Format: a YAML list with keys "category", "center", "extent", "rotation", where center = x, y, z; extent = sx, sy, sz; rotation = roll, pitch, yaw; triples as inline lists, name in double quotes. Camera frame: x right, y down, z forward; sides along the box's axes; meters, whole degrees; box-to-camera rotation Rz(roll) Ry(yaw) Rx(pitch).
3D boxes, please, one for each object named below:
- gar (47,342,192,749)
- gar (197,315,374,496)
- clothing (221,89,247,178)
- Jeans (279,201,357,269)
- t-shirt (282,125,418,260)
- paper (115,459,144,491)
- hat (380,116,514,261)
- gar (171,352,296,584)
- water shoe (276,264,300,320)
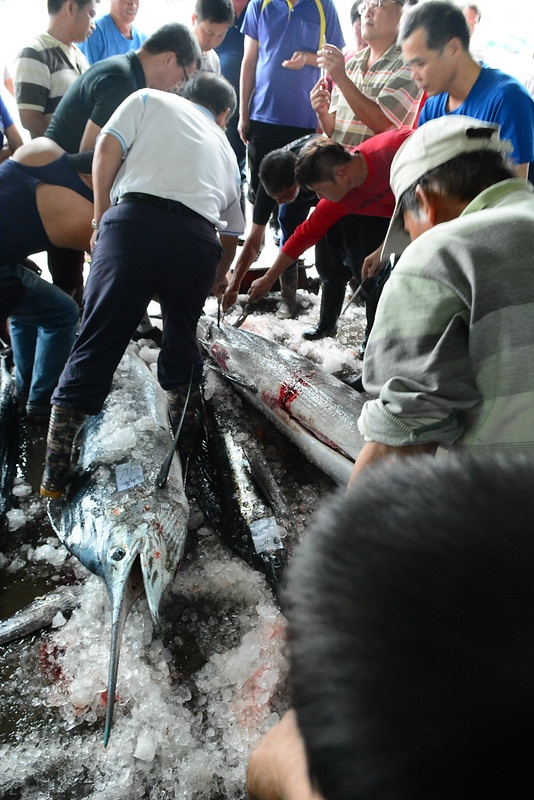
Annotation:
- category: "gar"
  center: [-0.428, 0.271, 1.775]
  extent: [0.280, 0.201, 1.174]
  rotation: [1, 43, -2]
- category: "gar"
  center: [-0.005, -0.063, 2.549]
  extent: [0.292, 0.204, 1.251]
  rotation: [25, 8, -29]
- category: "clothing"
  center: [-0.236, -1.916, 4.273]
  extent: [0.145, 0.807, 0.140]
  rotation: [-3, 2, 40]
- category: "Jeans"
  center: [0.243, -0.830, 2.730]
  extent: [0.417, 0.121, 0.087]
  rotation: [-21, 18, 50]
- category: "t-shirt"
  center: [0.355, -0.895, 2.679]
  extent: [0.400, 0.212, 0.670]
  rotation: [-11, -3, -41]
- category: "paper"
  center: [-0.421, 0.233, 1.751]
  extent: [0.071, 0.021, 0.076]
  rotation: [-8, 40, -8]
- category: "hat"
  center: [0.312, -0.459, 1.090]
  extent: [0.181, 0.147, 0.293]
  rotation: [-29, 10, 23]
- category: "gar"
  center: [-0.112, 0.282, 2.059]
  extent: [0.192, 0.205, 0.933]
  rotation: [31, 20, -22]
- category: "water shoe"
  center: [0.111, -0.680, 3.598]
  extent: [0.085, 0.301, 0.239]
  rotation: [6, 24, 29]
